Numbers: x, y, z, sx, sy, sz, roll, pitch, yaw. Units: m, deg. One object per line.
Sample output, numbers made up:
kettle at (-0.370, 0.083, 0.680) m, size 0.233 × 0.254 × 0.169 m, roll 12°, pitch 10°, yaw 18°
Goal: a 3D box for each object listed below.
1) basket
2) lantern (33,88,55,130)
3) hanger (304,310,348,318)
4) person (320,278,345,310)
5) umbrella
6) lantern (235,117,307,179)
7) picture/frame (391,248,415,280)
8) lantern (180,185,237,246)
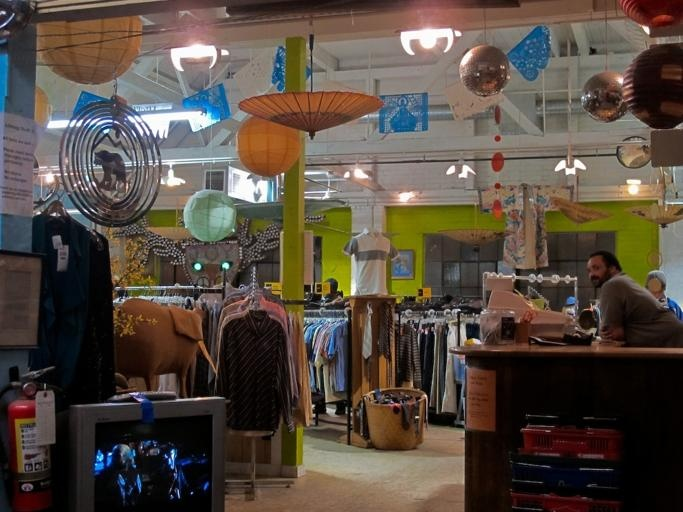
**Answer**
basket at (0.780, 1.951, 8.280) m, size 0.766 × 0.558 × 0.698 m, roll -5°, pitch -20°, yaw 32°
lantern at (-2.188, -1.085, 5.024) m, size 0.093 × 0.318 × 0.092 m, roll -11°, pitch 21°, yaw -30°
hanger at (-0.214, 0.808, 9.891) m, size 0.533 × 0.135 × 0.940 m, roll 1°, pitch -5°, yaw -14°
person at (-0.160, 0.609, 11.295) m, size 0.334 × 0.458 × 1.039 m, roll 0°, pitch -10°, yaw 0°
umbrella at (-0.241, -1.278, 5.308) m, size 1.115 × 0.840 × 1.227 m, roll 0°, pitch 3°, yaw 11°
lantern at (-0.664, -0.971, 6.125) m, size 0.473 × 0.598 × 0.497 m, roll -1°, pitch -2°, yaw 29°
picture/frame at (1.512, 0.168, 16.646) m, size 0.693 × 1.033 × 0.101 m, roll 2°, pitch 1°, yaw 24°
lantern at (-1.950, -0.586, 10.100) m, size 0.699 × 0.822 × 0.728 m, roll 0°, pitch 2°, yaw 4°
